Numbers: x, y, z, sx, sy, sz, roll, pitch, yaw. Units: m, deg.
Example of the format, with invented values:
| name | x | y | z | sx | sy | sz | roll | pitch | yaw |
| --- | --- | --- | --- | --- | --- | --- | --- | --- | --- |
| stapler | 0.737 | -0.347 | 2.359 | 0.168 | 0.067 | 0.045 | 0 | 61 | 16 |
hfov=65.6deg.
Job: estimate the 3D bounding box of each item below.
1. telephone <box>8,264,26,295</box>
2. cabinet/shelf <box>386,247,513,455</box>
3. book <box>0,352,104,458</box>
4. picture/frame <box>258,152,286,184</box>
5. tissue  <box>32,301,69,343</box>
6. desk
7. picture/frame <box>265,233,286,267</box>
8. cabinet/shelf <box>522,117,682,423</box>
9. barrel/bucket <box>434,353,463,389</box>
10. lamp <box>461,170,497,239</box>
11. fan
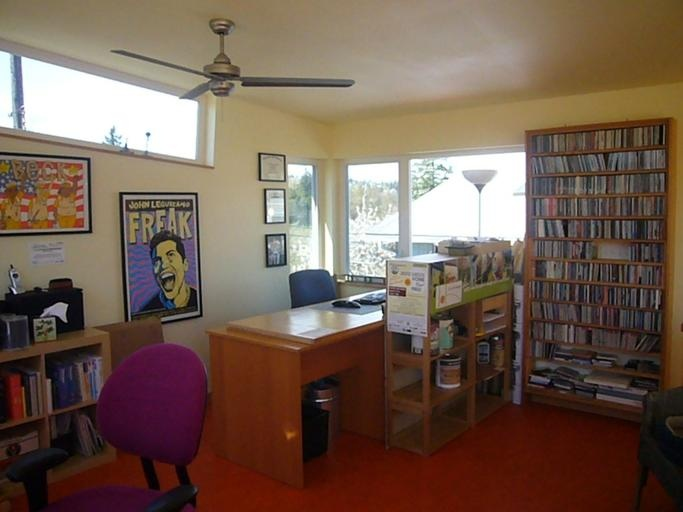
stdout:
| name | x | y | z | sx | sy | sz | roll | pitch | yaw |
| --- | --- | --- | --- | --- | --- | --- | --- | --- | --- |
| telephone | -2.587 | 0.188 | 4.208 | 0.098 | 0.215 | 0.149 | -8 | 13 | -33 |
| cabinet/shelf | 0.938 | 0.861 | 4.699 | 0.475 | 1.631 | 1.580 | 2 | 6 | 33 |
| book | -2.248 | 1.145 | 4.078 | 0.291 | 0.815 | 0.917 | 0 | -1 | 43 |
| picture/frame | -0.806 | -0.996 | 6.033 | 0.014 | 0.287 | 0.381 | 3 | 5 | 36 |
| tissue  | -2.317 | 0.531 | 4.202 | 0.060 | 0.346 | 0.321 | -5 | -2 | 36 |
| desk | -0.274 | 1.155 | 4.848 | 1.065 | 1.074 | 1.663 | 2 | 3 | 32 |
| picture/frame | -0.772 | -0.057 | 6.114 | 0.029 | 0.398 | 0.375 | 0 | 2 | 33 |
| cabinet/shelf | 2.399 | 0.160 | 5.010 | 1.341 | 2.795 | 0.513 | 4 | 12 | 20 |
| barrel/bucket | 0.948 | 1.041 | 4.822 | 0.252 | 0.269 | 0.252 | 0 | 5 | 0 |
| lamp | 1.475 | -0.552 | 5.688 | 0.344 | 0.733 | 0.409 | 3 | 12 | 18 |
| fan | -0.664 | -1.217 | 3.586 | 0.954 | 0.357 | 0.939 | 7 | -8 | -42 |
